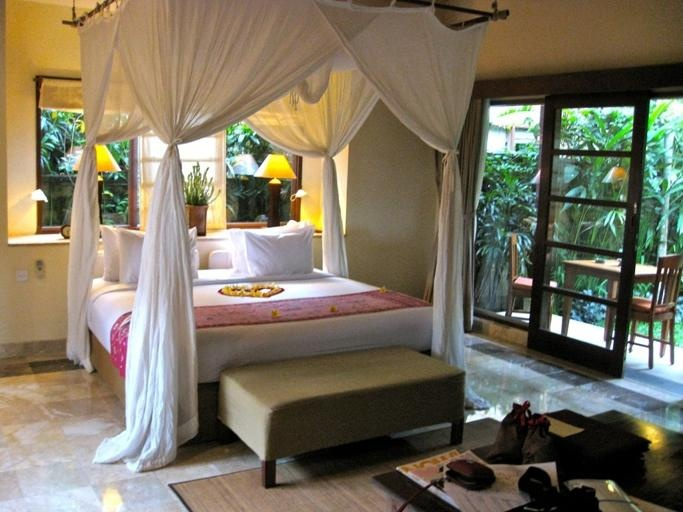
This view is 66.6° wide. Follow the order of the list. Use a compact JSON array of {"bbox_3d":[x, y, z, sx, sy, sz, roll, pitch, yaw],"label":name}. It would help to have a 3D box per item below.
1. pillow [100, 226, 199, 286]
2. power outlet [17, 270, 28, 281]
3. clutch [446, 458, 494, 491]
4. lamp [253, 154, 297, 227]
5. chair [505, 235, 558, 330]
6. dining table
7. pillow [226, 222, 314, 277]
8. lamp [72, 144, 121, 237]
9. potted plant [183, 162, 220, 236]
[{"bbox_3d":[-1.497,0.008,3.932,0.506,0.367,0.177,-2,-2,-34],"label":"pillow"},{"bbox_3d":[-2.891,0.173,4.708,0.085,0.089,0.020,3,5,-39],"label":"power outlet"},{"bbox_3d":[0.461,0.775,1.875,0.088,0.041,0.121,-4,7,-34],"label":"clutch"},{"bbox_3d":[-0.775,-0.788,6.166,0.453,0.872,0.595,1,11,-6],"label":"lamp"},{"bbox_3d":[2.190,0.250,5.952,0.534,0.954,0.502,7,11,36],"label":"chair"},{"bbox_3d":[2.736,0.251,5.119,0.905,0.922,0.774,-3,16,-18],"label":"dining table"},{"bbox_3d":[-0.698,-0.028,5.287,0.579,0.630,0.190,-4,4,-27],"label":"pillow"},{"bbox_3d":[-2.355,-0.684,5.083,0.455,0.811,1.056,-3,12,-27],"label":"lamp"},{"bbox_3d":[-1.558,-0.646,5.862,0.368,0.774,0.390,-1,11,-16],"label":"potted plant"}]
